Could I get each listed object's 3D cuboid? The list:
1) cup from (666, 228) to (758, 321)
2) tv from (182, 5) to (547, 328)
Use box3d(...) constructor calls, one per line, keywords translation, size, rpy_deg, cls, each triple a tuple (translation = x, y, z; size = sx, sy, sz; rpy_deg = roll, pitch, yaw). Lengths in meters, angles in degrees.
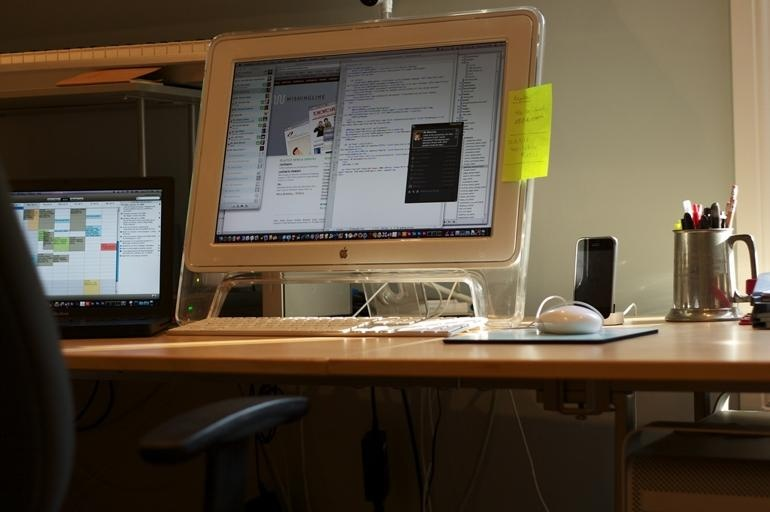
box3d(translation=(0.752, 0.052, 1.607), size=(0.267, 0.247, 0.179), rpy_deg=(1, -5, 2), cls="cup")
box3d(translation=(-0.048, -0.208, 1.624), size=(0.891, 0.713, 0.281), rpy_deg=(1, -16, 13), cls="tv")
